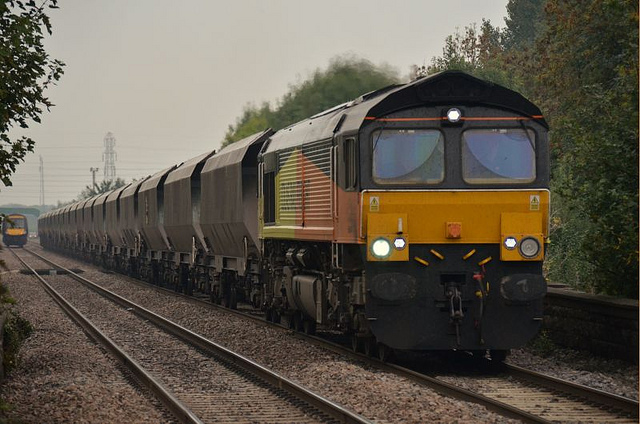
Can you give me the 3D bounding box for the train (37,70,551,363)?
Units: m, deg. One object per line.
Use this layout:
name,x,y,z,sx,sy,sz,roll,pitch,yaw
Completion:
train,-2.986,-0.145,24.498,3.640,4.980,29.742,0,-1,-22

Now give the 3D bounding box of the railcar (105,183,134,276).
railcar,-11.846,1.140,36.899,2.012,5.335,1.681,4,-13,-9

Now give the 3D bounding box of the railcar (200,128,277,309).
railcar,-3.141,0.254,22.076,1.689,5.679,9.424,-2,-1,-21

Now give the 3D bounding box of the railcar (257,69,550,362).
railcar,1.113,0.001,15.915,3.644,5.619,10.954,-1,1,-15

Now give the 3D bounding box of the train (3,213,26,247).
train,-40.515,2.429,82.756,2.662,4.105,6.033,0,-1,-29
